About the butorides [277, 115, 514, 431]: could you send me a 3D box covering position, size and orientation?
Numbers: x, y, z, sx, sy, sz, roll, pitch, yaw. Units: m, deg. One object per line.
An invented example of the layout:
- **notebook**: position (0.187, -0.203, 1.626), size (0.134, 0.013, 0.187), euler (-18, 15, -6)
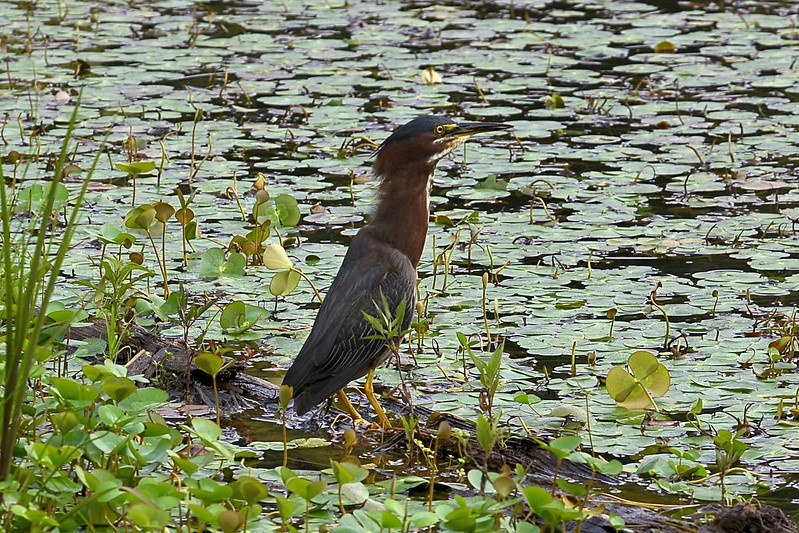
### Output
- **butorides**: position (-0.123, -0.052, 6.235), size (0.603, 1.942, 0.990), euler (18, 2, -1)
